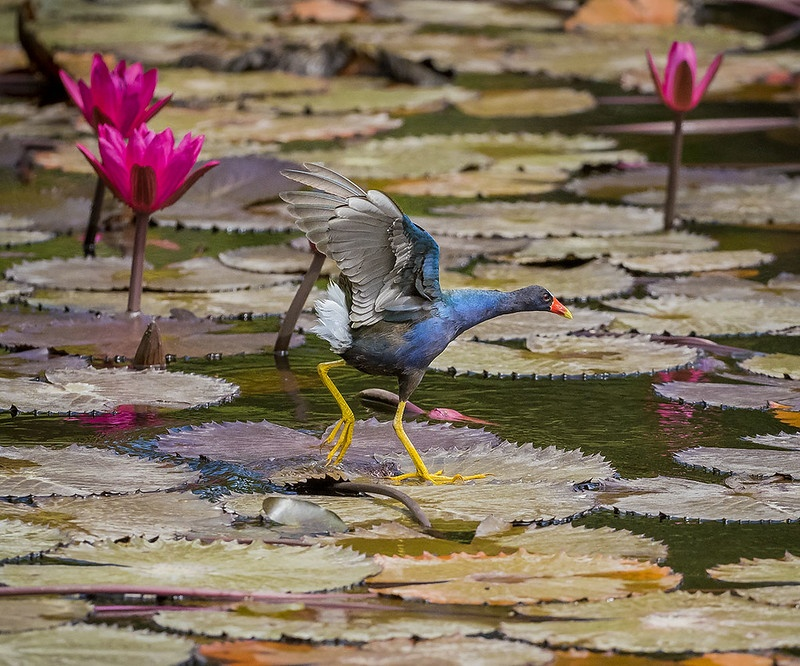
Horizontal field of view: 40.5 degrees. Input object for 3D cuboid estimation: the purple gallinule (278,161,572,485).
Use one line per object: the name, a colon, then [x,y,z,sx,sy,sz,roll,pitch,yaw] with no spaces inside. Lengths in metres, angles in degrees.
purple gallinule: [0.029,-0.054,3.795,1.555,0.835,1.209,2,12,-13]

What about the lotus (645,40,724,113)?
lotus: [1.524,-1.367,5.903,0.334,0.475,0.476,6,36,9]

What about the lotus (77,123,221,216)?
lotus: [-1.000,-0.662,4.363,0.482,0.385,0.263,-6,38,-7]
